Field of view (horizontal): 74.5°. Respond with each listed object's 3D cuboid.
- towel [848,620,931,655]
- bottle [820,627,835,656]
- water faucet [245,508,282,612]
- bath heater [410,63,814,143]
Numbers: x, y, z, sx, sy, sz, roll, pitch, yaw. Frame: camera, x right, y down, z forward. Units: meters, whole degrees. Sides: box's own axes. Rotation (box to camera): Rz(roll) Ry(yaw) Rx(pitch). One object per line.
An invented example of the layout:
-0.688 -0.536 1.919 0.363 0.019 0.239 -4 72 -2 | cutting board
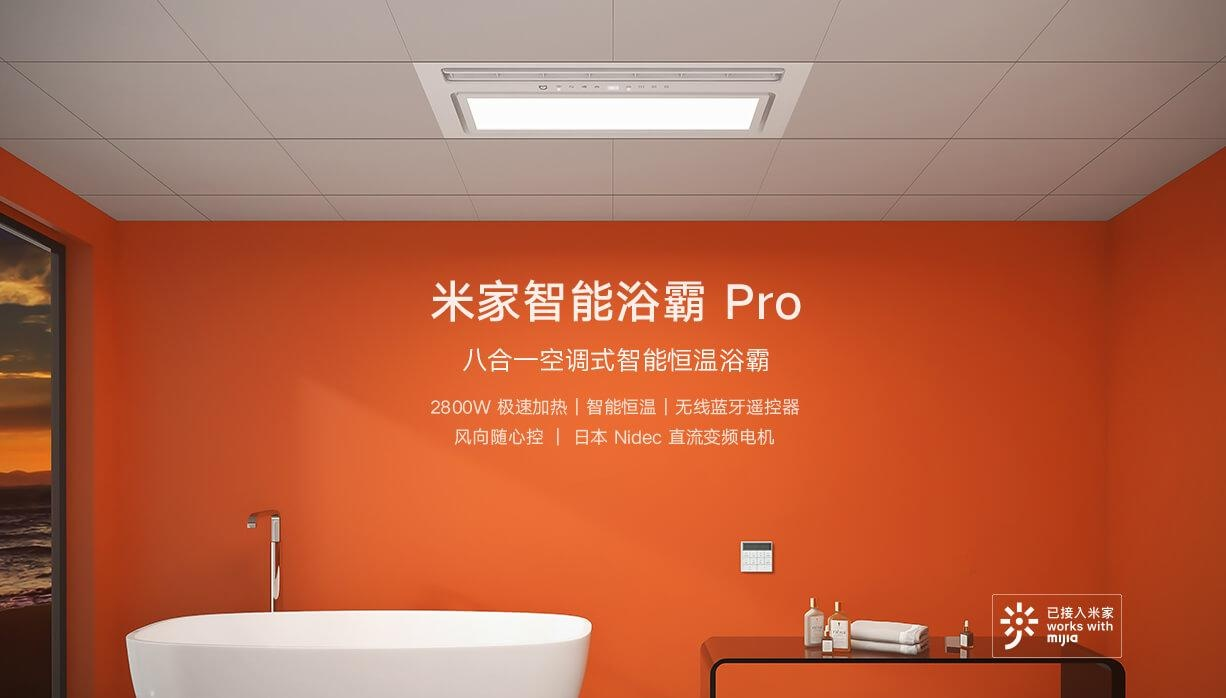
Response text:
1.481 1.590 4.387 0.277 0.069 0.254 -1 -6 20 | towel
1.150 1.590 4.372 0.064 0.111 0.095 -5 -16 20 | bottle
-2.166 1.319 4.998 0.250 0.611 0.311 7 -17 -21 | water faucet
-0.001 -1.276 4.136 1.924 0.121 0.531 0 -14 0 | bath heater
